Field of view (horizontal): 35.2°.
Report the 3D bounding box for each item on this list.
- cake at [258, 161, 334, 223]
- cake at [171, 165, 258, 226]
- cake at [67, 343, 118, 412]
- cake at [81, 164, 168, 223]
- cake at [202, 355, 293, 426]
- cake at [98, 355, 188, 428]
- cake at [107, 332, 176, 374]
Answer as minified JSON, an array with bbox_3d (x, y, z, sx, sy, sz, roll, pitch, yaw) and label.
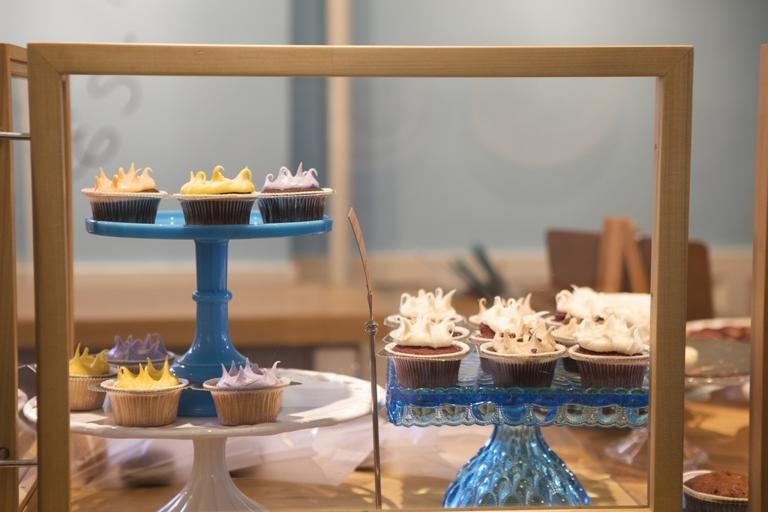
[{"bbox_3d":[-0.210,-0.133,2.672,0.194,0.131,0.189,-5,1,-4],"label":"cake"},{"bbox_3d":[-0.352,-0.126,2.592,0.135,0.090,0.132,3,2,33],"label":"cake"},{"bbox_3d":[-0.661,0.255,2.612,0.114,0.112,0.120,15,-2,-25],"label":"cake"},{"bbox_3d":[-0.567,-0.134,2.632,0.170,0.116,0.170,2,6,4],"label":"cake"},{"bbox_3d":[-0.288,0.284,2.584,0.146,0.096,0.130,0,-1,7],"label":"cake"},{"bbox_3d":[-0.513,0.287,2.577,0.181,0.136,0.128,-4,-1,32],"label":"cake"},{"bbox_3d":[-0.562,0.207,2.746,0.204,0.103,0.195,-2,-2,-15],"label":"cake"}]
